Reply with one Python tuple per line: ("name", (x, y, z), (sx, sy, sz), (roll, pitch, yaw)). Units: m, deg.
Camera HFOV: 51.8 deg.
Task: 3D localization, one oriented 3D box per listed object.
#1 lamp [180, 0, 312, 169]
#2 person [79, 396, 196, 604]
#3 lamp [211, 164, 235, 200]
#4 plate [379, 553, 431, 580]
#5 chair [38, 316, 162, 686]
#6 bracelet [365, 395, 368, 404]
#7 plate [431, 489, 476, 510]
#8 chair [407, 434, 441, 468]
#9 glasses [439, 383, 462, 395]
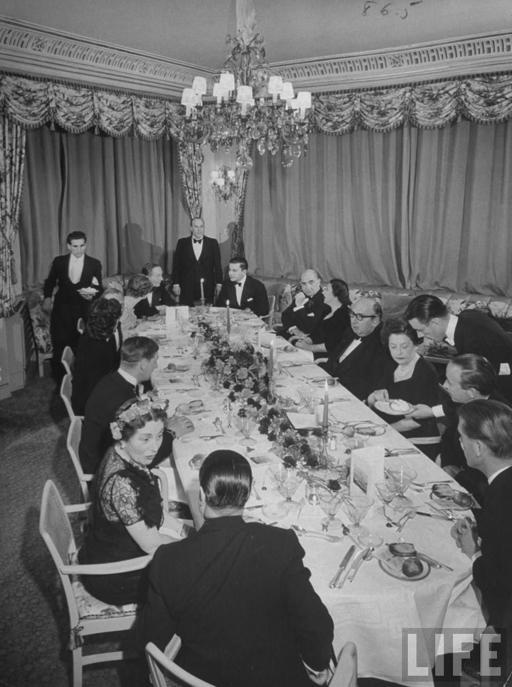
("lamp", (-0.196, -2.417, 5.064), (1.007, 1.523, 2.675), (-4, 14, -6))
("person", (-0.452, 0.597, 2.105), (0.453, 0.815, 0.381), (-4, 16, -28))
("lamp", (-0.509, -2.536, 8.309), (0.387, 0.533, 0.616), (-4, 14, -6))
("plate", (0.466, 0.703, 1.667), (0.162, 0.029, 0.119), (1, 15, 17))
("chair", (-0.749, 0.747, 2.521), (0.481, 0.746, 1.498), (0, 37, -15))
("bracelet", (0.803, 0.405, 3.846), (0.019, 0.022, 0.100), (17, -5, 13))
("plate", (0.775, 0.612, 2.078), (0.107, 0.030, 0.084), (-1, 7, -23))
("chair", (1.002, 0.628, 3.150), (0.151, 0.203, 0.174), (-1, 17, 4))
("glasses", (1.169, 0.271, 3.218), (0.086, 0.055, 0.124), (8, 23, -6))
